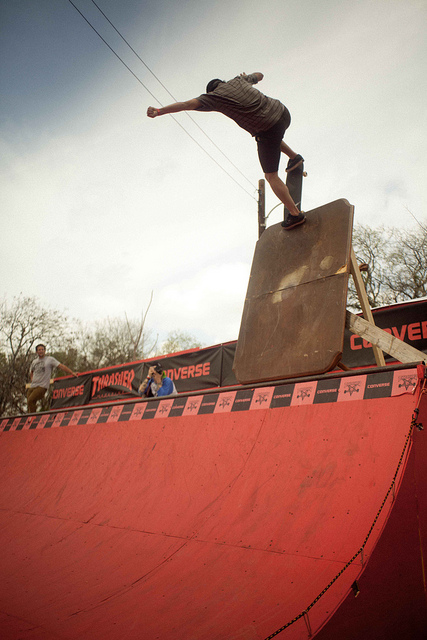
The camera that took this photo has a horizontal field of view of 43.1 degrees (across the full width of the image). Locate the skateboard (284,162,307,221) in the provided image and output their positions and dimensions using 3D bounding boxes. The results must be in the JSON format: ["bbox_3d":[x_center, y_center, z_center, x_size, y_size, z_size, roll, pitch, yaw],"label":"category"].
[{"bbox_3d":[0.739,-1.180,4.946,0.147,0.552,0.123,4,-5,43],"label":"skateboard"}]

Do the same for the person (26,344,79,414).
[{"bbox_3d":[-2.843,0.977,9.079,0.502,1.104,0.790,3,-4,-19],"label":"person"}]
